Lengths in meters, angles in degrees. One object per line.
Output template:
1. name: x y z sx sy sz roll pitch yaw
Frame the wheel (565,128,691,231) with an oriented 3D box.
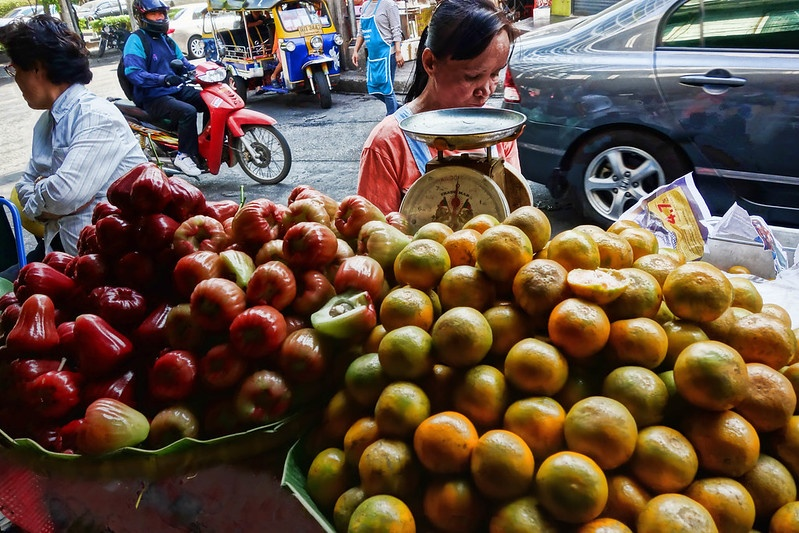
1. wheel: 1.696 -0.703 3.951 0.895 0.882 0.302 -5 12 23

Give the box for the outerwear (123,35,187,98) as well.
1. outerwear: -2.921 -2.360 6.336 0.551 0.651 0.602 9 35 21

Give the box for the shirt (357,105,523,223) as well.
1. shirt: 0.184 -0.522 2.836 1.001 0.728 0.540 1 15 0

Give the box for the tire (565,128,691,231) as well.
1. tire: 1.696 -0.703 3.951 0.895 0.882 0.302 -5 12 23
